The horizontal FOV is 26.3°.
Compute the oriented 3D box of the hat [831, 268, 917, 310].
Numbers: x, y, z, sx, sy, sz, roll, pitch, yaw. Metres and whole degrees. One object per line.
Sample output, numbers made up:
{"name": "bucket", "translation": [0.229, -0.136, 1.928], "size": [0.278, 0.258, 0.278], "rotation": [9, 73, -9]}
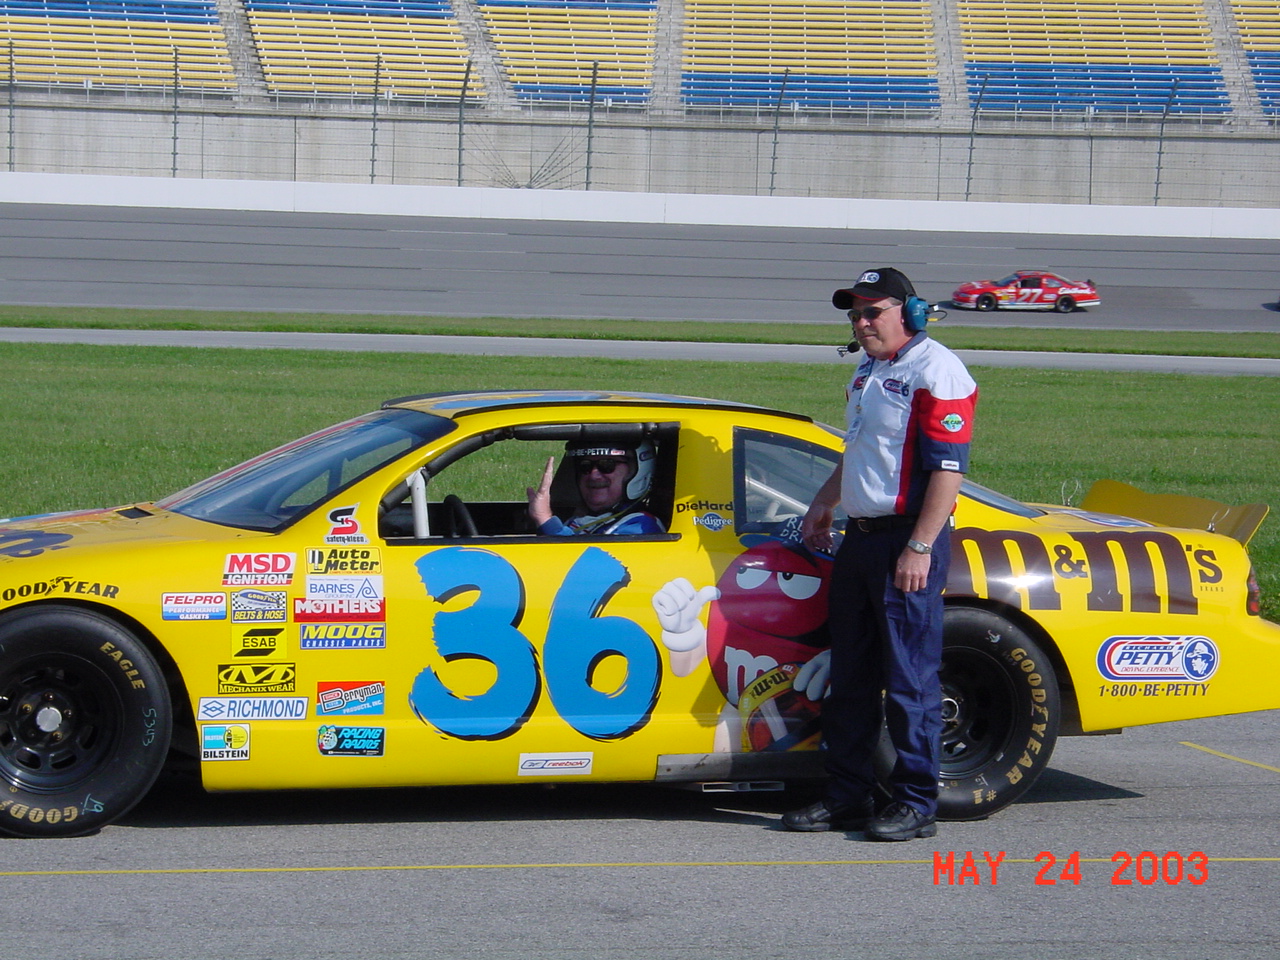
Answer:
{"name": "hat", "translation": [2.619, -2.126, 30.477], "size": [0.783, 0.328, 0.499], "rotation": [0, 0, -6]}

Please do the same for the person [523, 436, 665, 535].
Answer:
{"name": "person", "translation": [-0.266, 0.083, 31.152], "size": [1.198, 0.729, 1.429], "rotation": [-11, 19, -4]}

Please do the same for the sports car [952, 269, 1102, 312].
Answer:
{"name": "sports car", "translation": [8.260, -3.897, 57.353], "size": [2.314, 0.517, 1.219], "rotation": [2, 8, -5]}
